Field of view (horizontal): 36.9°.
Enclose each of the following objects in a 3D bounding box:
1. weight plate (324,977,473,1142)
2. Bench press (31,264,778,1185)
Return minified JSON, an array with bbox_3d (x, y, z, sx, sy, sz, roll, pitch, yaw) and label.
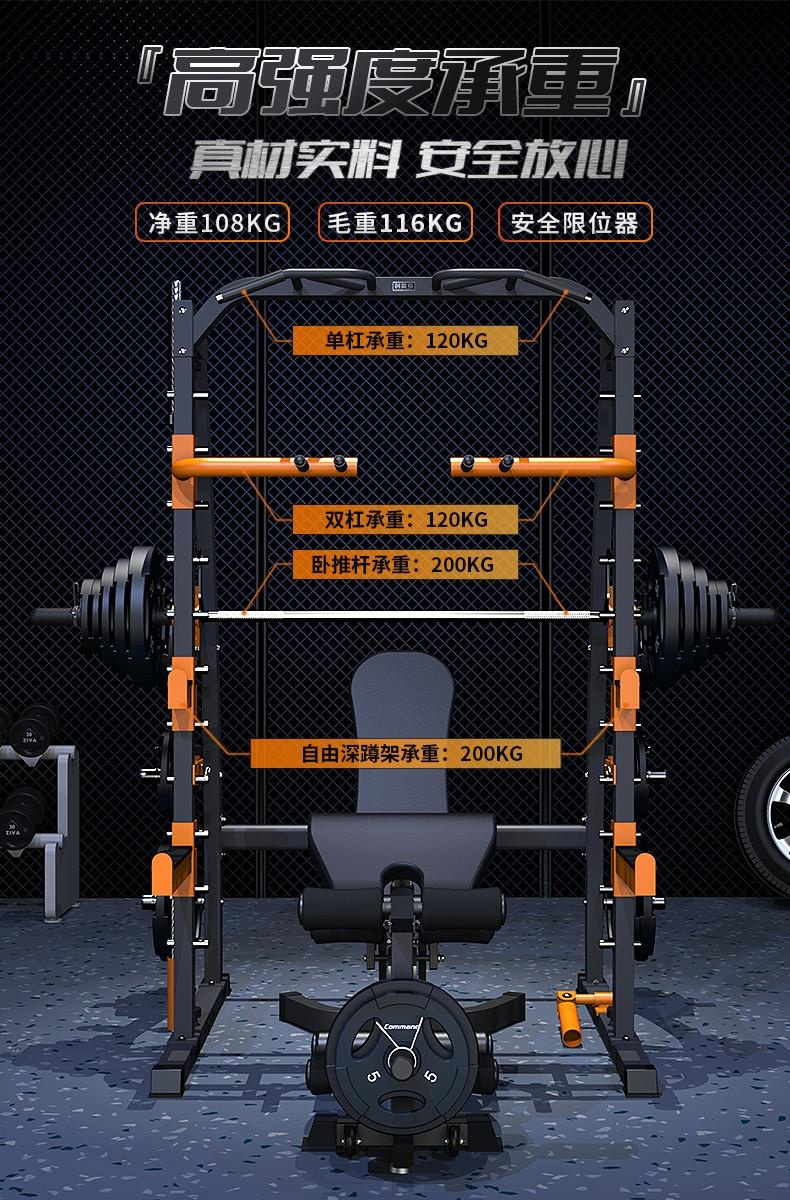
[{"bbox_3d":[0.014,0.809,2.077,0.274,0.261,0.045,1,-7,0],"label":"weight plate"},{"bbox_3d":[0.000,0.238,3.388,2.423,2.286,1.593,1,0,-2],"label":"Bench press"}]
